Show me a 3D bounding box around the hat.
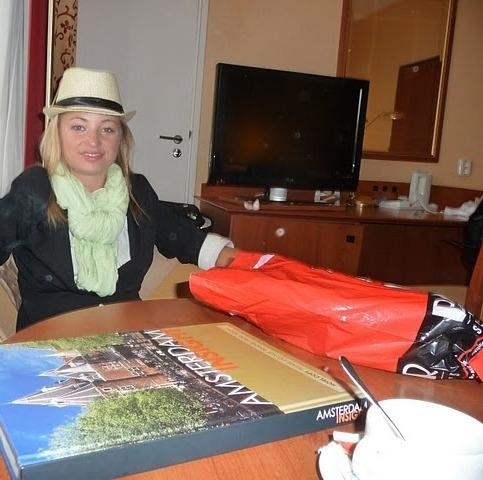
[{"bbox_3d":[-0.484,-0.456,1.246,0.162,0.117,0.205,2,-3,-12],"label":"hat"}]
